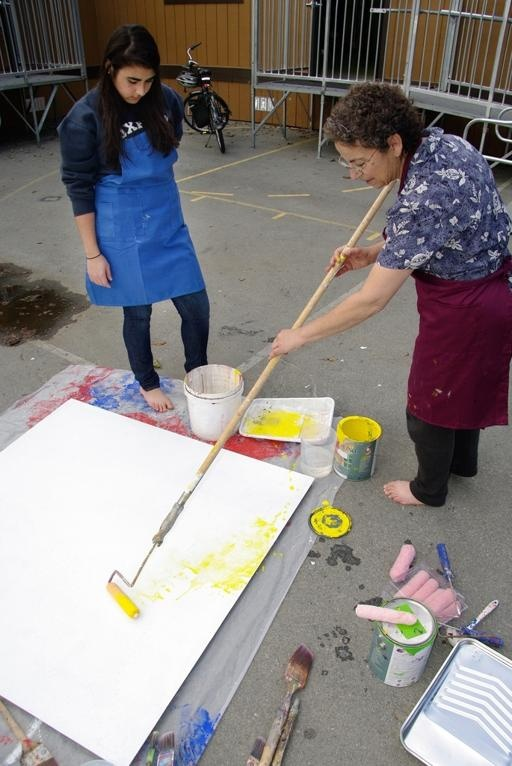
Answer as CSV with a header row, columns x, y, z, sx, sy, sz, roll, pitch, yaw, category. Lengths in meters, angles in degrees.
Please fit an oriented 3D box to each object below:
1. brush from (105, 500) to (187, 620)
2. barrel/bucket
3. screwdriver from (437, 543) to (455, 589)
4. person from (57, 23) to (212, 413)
x,y,z,sx,sy,sz,roll,pitch,yaw,category
-0.352,0.511,1.903,0.155,0.204,0.446,11,33,18,brush
-0.150,0.086,2.632,0.338,0.301,0.307,-4,41,-4,barrel/bucket
0.635,0.602,1.979,0.024,0.024,0.144,18,26,2,screwdriver
-0.468,-0.564,2.435,0.523,1.548,0.389,-10,33,-14,person
